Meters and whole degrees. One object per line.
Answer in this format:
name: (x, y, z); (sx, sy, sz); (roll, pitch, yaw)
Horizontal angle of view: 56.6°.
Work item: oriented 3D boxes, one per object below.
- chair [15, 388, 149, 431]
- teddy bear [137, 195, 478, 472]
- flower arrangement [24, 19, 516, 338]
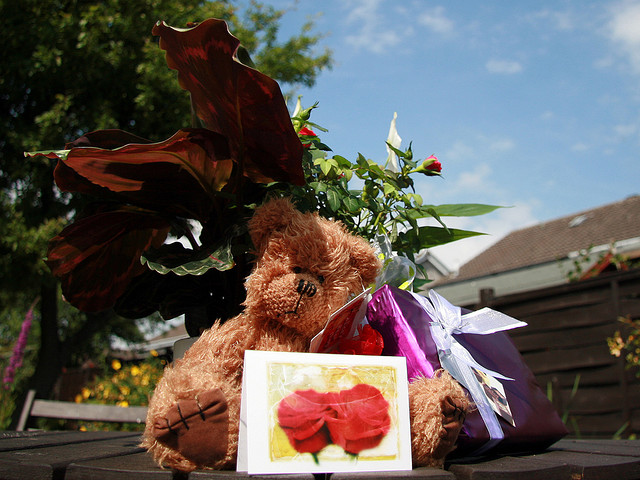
chair: (-1.273, 0.893, 3.206); (0.748, 0.223, 0.201); (-5, -20, 5)
teddy bear: (-0.013, 0.343, 2.279); (0.783, 1.006, 0.998); (13, -10, -27)
flower arrangement: (-0.449, -0.162, 2.386); (1.613, 0.794, 1.578); (10, 3, -21)
